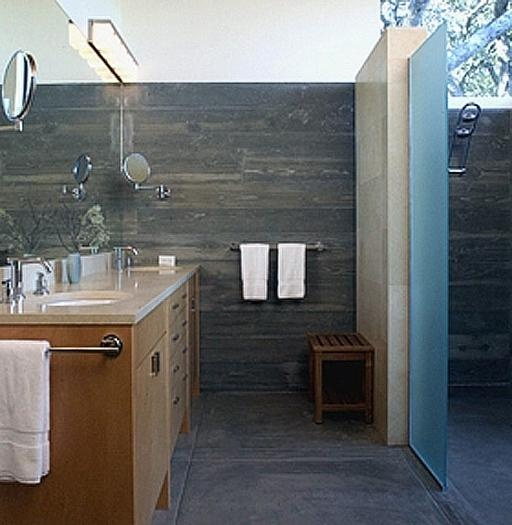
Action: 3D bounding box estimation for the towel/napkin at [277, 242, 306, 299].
[{"bbox_3d":[0.227,0.064,3.552,0.167,0.403,0.043,0,-34,4],"label":"towel/napkin"}]

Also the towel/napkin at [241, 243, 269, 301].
[{"bbox_3d":[-0.001,0.058,3.564,0.186,0.346,0.078,-1,6,-2],"label":"towel/napkin"}]

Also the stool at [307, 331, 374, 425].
[{"bbox_3d":[0.496,0.676,3.344,0.328,0.477,0.591,-2,3,-1],"label":"stool"}]

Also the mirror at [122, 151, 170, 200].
[{"bbox_3d":[-0.705,-0.529,3.553,0.074,0.243,0.332,4,-18,38],"label":"mirror"}]
